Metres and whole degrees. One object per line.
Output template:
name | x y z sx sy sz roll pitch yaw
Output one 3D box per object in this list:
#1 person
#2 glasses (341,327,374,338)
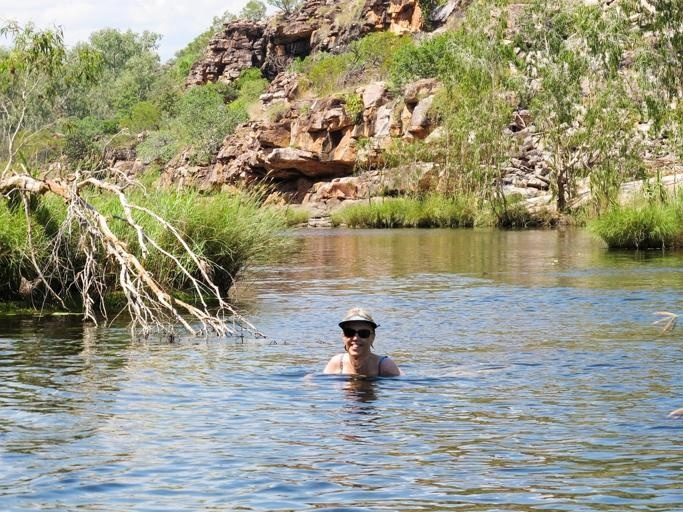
person | 0.332 1.272 14.836 1.272 0.944 0.622 0 -10 23
glasses | 0.257 1.047 14.645 0.376 0.132 0.101 1 14 5
